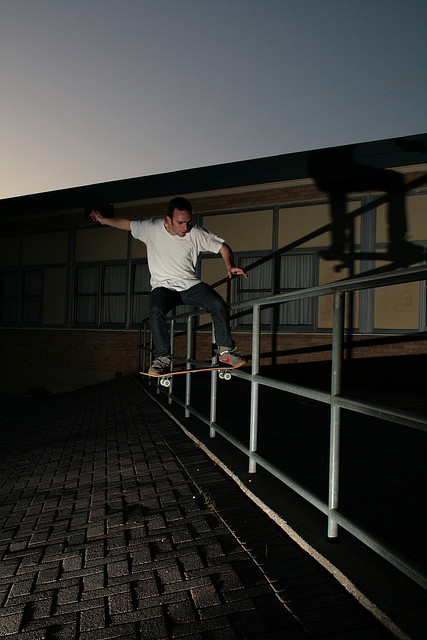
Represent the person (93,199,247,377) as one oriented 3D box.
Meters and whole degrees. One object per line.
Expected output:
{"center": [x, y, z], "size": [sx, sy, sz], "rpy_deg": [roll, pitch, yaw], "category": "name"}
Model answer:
{"center": [-0.330, -0.296, 4.650], "size": [1.088, 1.482, 0.550], "rpy_deg": [-7, -1, 15], "category": "person"}
